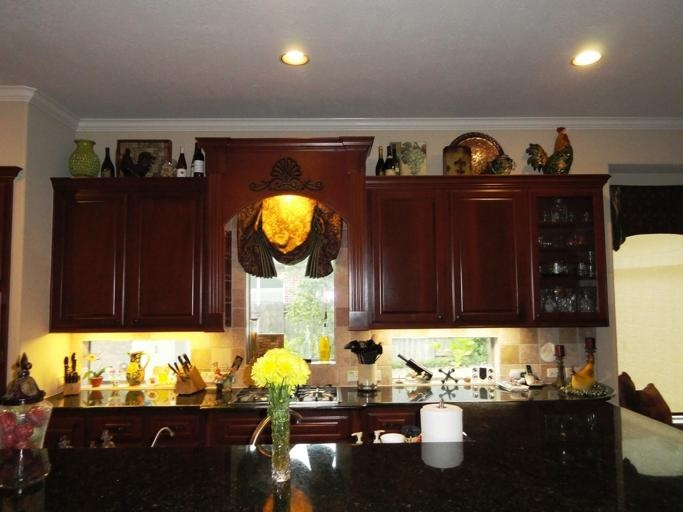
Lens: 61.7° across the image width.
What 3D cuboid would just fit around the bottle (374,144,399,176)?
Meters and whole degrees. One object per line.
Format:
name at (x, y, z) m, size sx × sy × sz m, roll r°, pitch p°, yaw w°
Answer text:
bottle at (0.406, -0.836, 4.933) m, size 0.202 × 0.268 × 0.384 m, roll 1°, pitch 10°, yaw 4°

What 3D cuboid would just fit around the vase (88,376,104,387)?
vase at (-2.041, 1.042, 4.767) m, size 0.097 × 0.065 × 0.095 m, roll -1°, pitch -5°, yaw 7°

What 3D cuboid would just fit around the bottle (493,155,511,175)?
bottle at (1.373, -0.768, 4.857) m, size 0.133 × 0.166 × 0.173 m, roll 5°, pitch 20°, yaw 17°

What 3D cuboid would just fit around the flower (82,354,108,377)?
flower at (-2.128, 0.942, 4.912) m, size 0.188 × 0.230 × 0.246 m, roll 2°, pitch -9°, yaw -3°

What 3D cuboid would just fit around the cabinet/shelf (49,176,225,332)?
cabinet/shelf at (-1.682, 0.033, 4.660) m, size 1.294 × 1.146 × 0.497 m, roll 0°, pitch -8°, yaw -2°

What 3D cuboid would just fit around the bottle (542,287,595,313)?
bottle at (1.873, 0.364, 4.709) m, size 0.439 × 0.187 × 0.081 m, roll -1°, pitch 10°, yaw -3°

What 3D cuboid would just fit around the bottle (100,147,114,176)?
bottle at (-1.990, -0.800, 4.868) m, size 0.121 × 0.244 × 0.463 m, roll -4°, pitch 11°, yaw -21°

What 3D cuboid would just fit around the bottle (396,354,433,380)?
bottle at (0.643, 0.967, 4.965) m, size 0.306 × 0.260 × 0.175 m, roll 1°, pitch 10°, yaw 6°

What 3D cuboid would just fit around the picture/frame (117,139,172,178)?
picture/frame at (-1.688, -0.828, 4.933) m, size 0.391 × 0.320 × 0.040 m, roll -1°, pitch -7°, yaw -1°

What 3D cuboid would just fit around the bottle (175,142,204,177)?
bottle at (-1.285, -0.826, 4.870) m, size 0.237 × 0.288 × 0.469 m, roll -3°, pitch 11°, yaw -15°

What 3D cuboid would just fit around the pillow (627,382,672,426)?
pillow at (2.969, 1.419, 5.425) m, size 0.472 × 0.364 × 0.253 m, roll -6°, pitch 12°, yaw -30°

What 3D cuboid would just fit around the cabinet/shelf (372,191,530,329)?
cabinet/shelf at (0.885, 0.081, 4.694) m, size 1.164 × 0.937 × 0.369 m, roll 0°, pitch -9°, yaw -2°

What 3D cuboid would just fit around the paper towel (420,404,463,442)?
paper towel at (0.459, 0.770, 2.619) m, size 0.189 × 0.186 × 0.182 m, roll 0°, pitch -2°, yaw 3°

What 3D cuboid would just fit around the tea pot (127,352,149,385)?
tea pot at (-1.749, 0.950, 4.921) m, size 0.174 × 0.294 × 0.200 m, roll -1°, pitch 10°, yaw -8°

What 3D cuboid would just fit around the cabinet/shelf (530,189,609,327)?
cabinet/shelf at (1.871, 0.027, 4.730) m, size 0.602 × 1.053 × 0.304 m, roll 0°, pitch 10°, yaw 0°

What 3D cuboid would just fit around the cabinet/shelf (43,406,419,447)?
cabinet/shelf at (-0.857, 1.292, 4.289) m, size 2.709 × 0.310 × 0.169 m, roll 0°, pitch 10°, yaw -1°

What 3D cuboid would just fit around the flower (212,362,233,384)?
flower at (-0.980, 1.000, 4.812) m, size 0.168 × 0.144 × 0.312 m, roll -3°, pitch 11°, yaw -14°

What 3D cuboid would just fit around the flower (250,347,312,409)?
flower at (-0.260, 0.504, 2.506) m, size 0.262 × 0.265 × 0.269 m, roll -2°, pitch -3°, yaw 16°

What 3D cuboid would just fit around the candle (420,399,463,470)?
candle at (0.462, 0.809, 2.596) m, size 0.224 × 0.240 × 0.223 m, roll -5°, pitch -5°, yaw 35°
